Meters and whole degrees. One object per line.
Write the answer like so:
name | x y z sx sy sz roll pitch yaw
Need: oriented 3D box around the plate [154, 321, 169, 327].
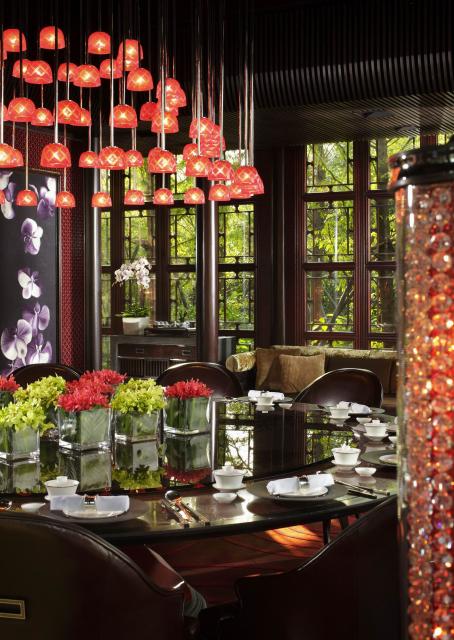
plate | -0.821 0.068 7.391 0.179 0.066 0.233 -1 -1 -8

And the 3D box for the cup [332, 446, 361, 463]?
cup | 0.406 0.447 2.012 0.076 0.052 0.075 -1 2 0

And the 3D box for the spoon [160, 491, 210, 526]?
spoon | -0.120 0.490 1.547 0.045 0.019 0.134 3 8 -21

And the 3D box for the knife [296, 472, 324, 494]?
knife | 0.233 0.457 1.653 0.064 0.034 0.031 0 -39 -14

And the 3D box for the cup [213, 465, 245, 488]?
cup | 0.004 0.447 1.729 0.066 0.048 0.066 -2 2 0

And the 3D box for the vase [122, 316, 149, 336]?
vase | -1.183 0.072 7.493 0.262 0.184 0.214 -1 1 3

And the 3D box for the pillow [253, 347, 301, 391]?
pillow | 0.548 0.555 6.472 0.424 0.435 0.169 -3 -14 13

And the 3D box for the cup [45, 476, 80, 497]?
cup | -0.464 0.458 1.631 0.069 0.040 0.073 0 0 0

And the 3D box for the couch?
couch | 1.065 0.704 6.496 2.020 0.729 0.728 0 1 24
